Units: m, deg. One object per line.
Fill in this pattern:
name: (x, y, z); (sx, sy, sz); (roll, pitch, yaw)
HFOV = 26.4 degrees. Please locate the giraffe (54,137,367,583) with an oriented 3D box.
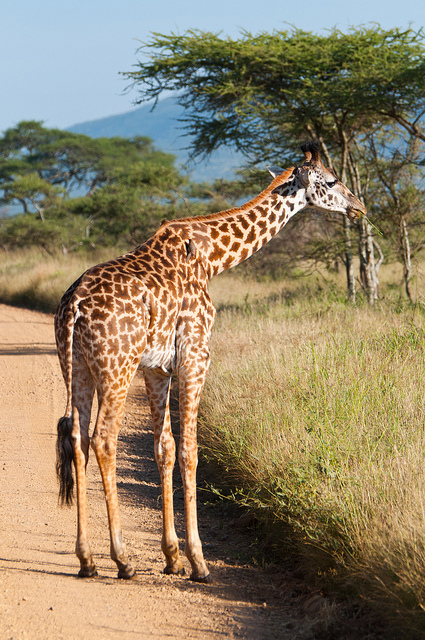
giraffe: (-0.089, 0.154, 7.060); (1.414, 3.225, 2.604); (14, 13, 27)
